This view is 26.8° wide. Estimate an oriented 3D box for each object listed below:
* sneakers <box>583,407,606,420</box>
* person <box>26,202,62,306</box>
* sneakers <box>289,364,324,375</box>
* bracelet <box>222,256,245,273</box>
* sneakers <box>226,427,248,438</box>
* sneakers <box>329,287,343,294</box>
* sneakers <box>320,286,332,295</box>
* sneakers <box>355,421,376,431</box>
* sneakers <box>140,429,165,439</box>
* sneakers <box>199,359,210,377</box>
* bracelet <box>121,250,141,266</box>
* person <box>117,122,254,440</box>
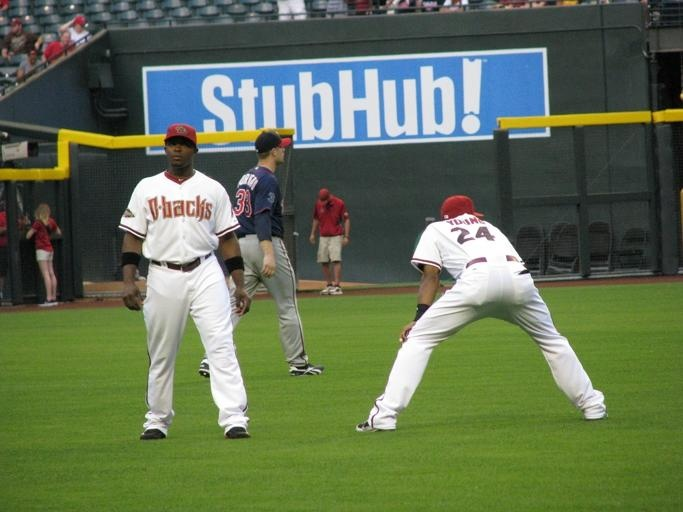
[{"bbox_3d":[3.274,2.026,18.527,0.232,0.136,0.168,2,-1,27],"label":"sneakers"},{"bbox_3d":[-5.760,-0.001,27.818,0.527,1.997,0.752,-3,15,-4],"label":"person"},{"bbox_3d":[-0.493,1.600,20.578,0.480,0.196,0.169,-3,6,-9],"label":"sneakers"},{"bbox_3d":[-1.382,0.101,18.646,0.235,0.167,0.224,-2,6,-4],"label":"bracelet"},{"bbox_3d":[-1.328,2.250,18.272,0.273,0.113,0.125,7,4,-1],"label":"sneakers"},{"bbox_3d":[-0.091,0.698,28.831,0.108,0.129,0.310,-1,-7,11],"label":"sneakers"},{"bbox_3d":[-0.280,0.692,28.854,0.116,0.122,0.302,6,-2,-28],"label":"sneakers"},{"bbox_3d":[0.314,2.181,18.442,0.228,0.086,0.116,4,-1,7],"label":"sneakers"},{"bbox_3d":[-2.408,2.273,18.396,0.253,0.094,0.132,3,-7,7],"label":"sneakers"},{"bbox_3d":[-1.950,1.597,20.550,0.160,0.213,0.448,2,3,2],"label":"sneakers"},{"bbox_3d":[-2.686,0.026,18.382,0.211,0.143,0.197,2,0,-6],"label":"bracelet"},{"bbox_3d":[-1.978,0.346,18.272,1.573,3.900,1.107,-3,15,-4],"label":"person"}]
